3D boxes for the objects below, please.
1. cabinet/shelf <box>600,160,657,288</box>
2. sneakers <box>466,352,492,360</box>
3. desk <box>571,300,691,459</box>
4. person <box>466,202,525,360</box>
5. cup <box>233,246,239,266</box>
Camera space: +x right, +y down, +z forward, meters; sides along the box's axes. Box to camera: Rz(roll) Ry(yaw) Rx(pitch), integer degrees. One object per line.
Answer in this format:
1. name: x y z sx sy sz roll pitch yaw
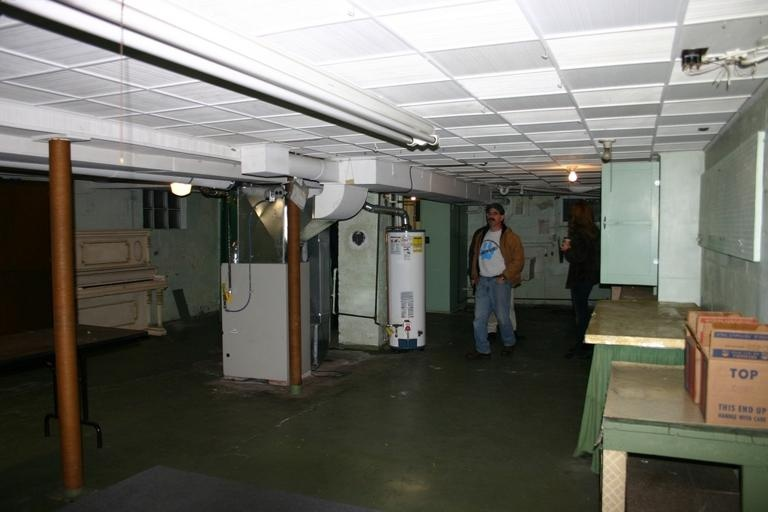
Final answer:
1. cabinet/shelf: 3.522 -0.461 7.516 0.793 1.729 0.304 3 9 23
2. sneakers: 1.546 1.597 8.566 0.377 0.150 0.142 5 3 18
3. desk: 2.315 1.135 4.873 0.644 0.586 1.681 1 3 22
4. person: 1.855 0.371 8.687 0.786 2.438 0.834 1 8 7
5. cup: -2.129 -0.022 7.577 0.077 0.247 0.133 -5 9 -29
